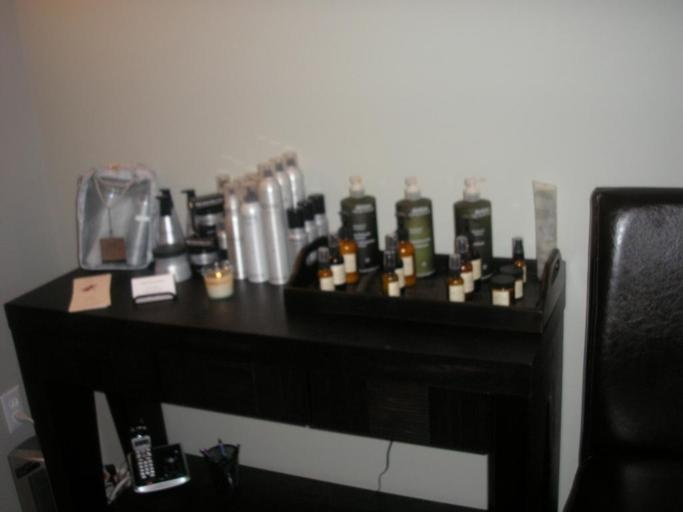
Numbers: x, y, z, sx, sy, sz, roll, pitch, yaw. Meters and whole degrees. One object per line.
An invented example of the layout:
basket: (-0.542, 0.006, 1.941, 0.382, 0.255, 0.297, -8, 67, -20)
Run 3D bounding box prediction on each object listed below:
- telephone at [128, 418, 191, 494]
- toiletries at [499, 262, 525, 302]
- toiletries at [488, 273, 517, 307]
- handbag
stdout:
telephone: (-0.652, 0.740, 2.067, 0.169, 0.102, 0.242, -8, 53, -19)
toiletries: (0.453, 0.080, 1.550, 0.062, 0.071, 0.065, -4, 2, 30)
toiletries: (0.406, 0.084, 1.482, 0.063, 0.075, 0.067, -3, 27, 11)
handbag: (-0.738, -0.123, 1.929, 0.257, 0.384, 0.209, 3, 19, 0)
